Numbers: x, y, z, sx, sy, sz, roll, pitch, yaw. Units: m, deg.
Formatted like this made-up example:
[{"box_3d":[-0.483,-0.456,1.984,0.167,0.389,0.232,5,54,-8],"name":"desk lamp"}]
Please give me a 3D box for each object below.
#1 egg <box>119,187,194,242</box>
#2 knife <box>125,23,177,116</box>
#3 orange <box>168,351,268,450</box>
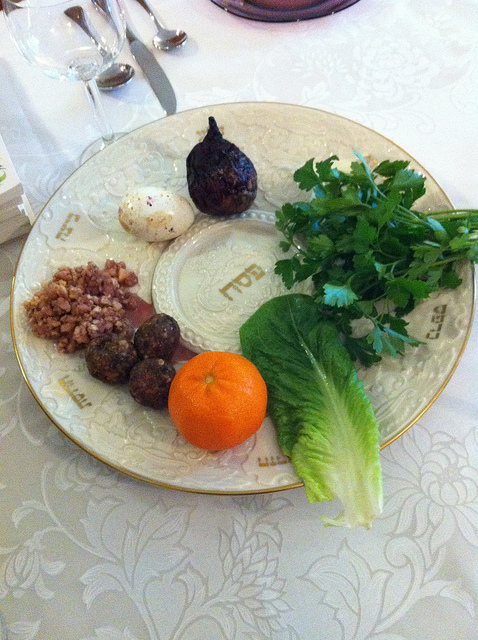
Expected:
[{"box_3d":[-0.119,-0.153,0.881,0.123,0.068,0.077,8,47,8],"name":"egg"},{"box_3d":[-0.179,-0.472,1.098,0.049,0.014,0.321,-22,57,-8],"name":"knife"},{"box_3d":[-0.019,0.108,0.737,0.130,0.089,0.106,-7,71,8],"name":"orange"}]
